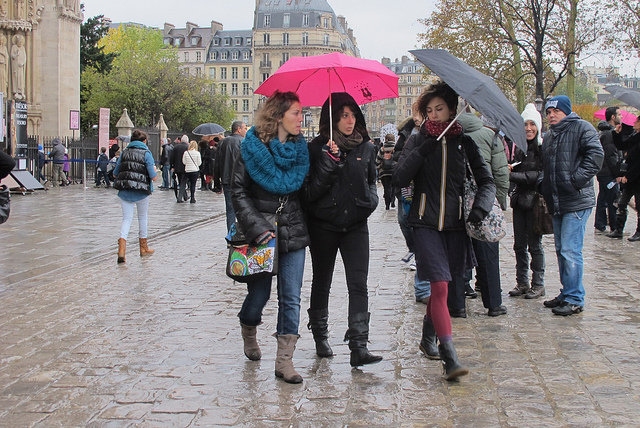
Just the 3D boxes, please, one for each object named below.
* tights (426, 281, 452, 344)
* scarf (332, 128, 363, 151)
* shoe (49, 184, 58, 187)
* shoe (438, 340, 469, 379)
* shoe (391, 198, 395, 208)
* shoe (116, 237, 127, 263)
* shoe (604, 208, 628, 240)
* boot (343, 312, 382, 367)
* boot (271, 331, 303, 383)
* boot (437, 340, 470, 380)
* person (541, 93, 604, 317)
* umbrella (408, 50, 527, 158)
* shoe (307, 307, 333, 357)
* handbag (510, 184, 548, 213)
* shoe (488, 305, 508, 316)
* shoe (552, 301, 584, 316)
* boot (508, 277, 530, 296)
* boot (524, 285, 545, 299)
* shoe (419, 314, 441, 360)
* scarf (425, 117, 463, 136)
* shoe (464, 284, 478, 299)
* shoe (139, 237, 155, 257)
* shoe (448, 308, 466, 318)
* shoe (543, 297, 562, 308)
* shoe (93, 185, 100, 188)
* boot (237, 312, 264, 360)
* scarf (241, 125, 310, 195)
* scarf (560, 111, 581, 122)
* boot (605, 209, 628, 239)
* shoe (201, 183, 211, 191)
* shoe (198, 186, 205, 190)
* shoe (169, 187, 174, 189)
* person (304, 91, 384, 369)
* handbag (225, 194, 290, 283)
[{"bbox_3d":[1.165,0.959,6.430,0.270,0.546,0.263,1,0,12],"label":"tights"},{"bbox_3d":[0.268,-0.764,6.654,0.224,0.102,0.264,6,-1,-33],"label":"scarf"},{"bbox_3d":[-11.652,-1.259,28.657,0.306,0.026,0.796,-4,10,-25],"label":"shoe"},{"bbox_3d":[1.241,1.402,6.273,0.164,0.382,0.362,-3,10,-15],"label":"shoe"},{"bbox_3d":[2.363,-0.372,21.649,0.119,0.296,0.224,-2,12,-2],"label":"shoe"},{"bbox_3d":[-3.421,0.610,11.275,0.128,0.406,0.233,-3,10,-18],"label":"shoe"},{"bbox_3d":[6.426,0.209,14.353,0.566,0.792,0.247,15,-26,20],"label":"shoe"},{"bbox_3d":[0.387,1.247,6.598,0.397,0.501,0.368,-1,-3,-3],"label":"boot"},{"bbox_3d":[-0.312,1.396,6.348,0.241,0.466,0.477,4,4,-32],"label":"boot"},{"bbox_3d":[1.245,1.377,6.259,0.217,0.304,0.449,-12,-1,-14],"label":"boot"},{"bbox_3d":[3.153,-0.136,8.340,0.692,2.718,0.948,3,10,16],"label":"person"},{"bbox_3d":[1.444,-1.107,6.279,1.019,0.977,0.560,1,10,7],"label":"umbrella"},{"bbox_3d":[-0.008,1.231,6.955,0.255,0.492,0.262,-1,10,-2],"label":"shoe"},{"bbox_3d":[2.919,-0.304,9.269,0.589,0.238,0.673,14,16,21],"label":"handbag"},{"bbox_3d":[2.207,1.209,8.250,0.269,0.101,0.106,-9,13,-35],"label":"shoe"},{"bbox_3d":[3.063,1.189,8.199,0.366,0.147,0.144,1,-1,-6],"label":"shoe"},{"bbox_3d":[2.737,1.008,9.111,0.262,0.230,0.173,2,10,14],"label":"boot"},{"bbox_3d":[2.918,1.072,9.015,0.167,0.136,0.316,7,11,38],"label":"boot"},{"bbox_3d":[1.170,1.307,6.819,0.197,0.355,0.390,3,11,-18],"label":"shoe"},{"bbox_3d":[1.212,-0.878,6.522,0.361,0.186,0.195,1,9,7],"label":"scarf"},{"bbox_3d":[2.083,1.068,9.117,0.148,0.171,0.219,3,10,16],"label":"shoe"},{"bbox_3d":[-3.193,0.586,11.964,0.213,0.308,0.370,0,9,-1],"label":"shoe"},{"bbox_3d":[1.693,1.235,8.145,0.272,0.109,0.109,4,5,15],"label":"shoe"},{"bbox_3d":[2.979,1.151,8.469,0.213,0.080,0.084,3,4,41],"label":"shoe"},{"bbox_3d":[-9.877,-1.214,29.010,0.240,0.044,0.810,-4,9,-22],"label":"shoe"},{"bbox_3d":[-0.728,1.251,6.823,0.219,0.496,0.263,-1,10,-5],"label":"boot"},{"bbox_3d":[-0.448,-0.524,6.429,0.659,0.637,0.303,-1,10,-2],"label":"scarf"},{"bbox_3d":[3.204,-1.248,8.465,0.157,0.073,0.133,-11,-3,5],"label":"scarf"},{"bbox_3d":[6.325,0.183,14.101,0.364,0.590,0.503,4,10,22],"label":"boot"},{"bbox_3d":[-5.229,-1.202,29.433,0.478,0.409,0.195,11,-11,-25],"label":"shoe"},{"bbox_3d":[-5.300,-1.177,29.274,0.232,0.174,0.474,-2,9,-8],"label":"shoe"},{"bbox_3d":[-6.771,-1.219,29.733,0.165,0.088,1.041,-2,9,-14],"label":"shoe"},{"bbox_3d":[0.191,0.154,6.610,0.723,2.732,0.746,0,10,3],"label":"person"},{"bbox_3d":[-0.634,0.232,6.410,0.567,0.854,0.344,3,10,17],"label":"handbag"}]
